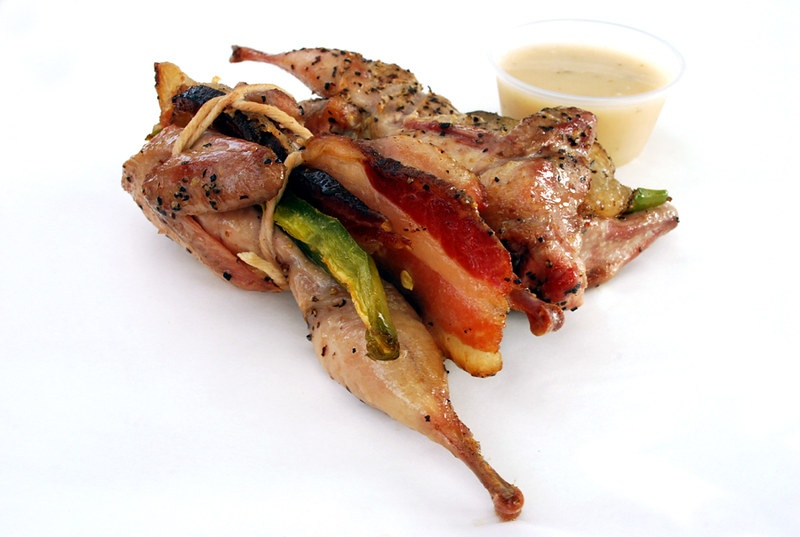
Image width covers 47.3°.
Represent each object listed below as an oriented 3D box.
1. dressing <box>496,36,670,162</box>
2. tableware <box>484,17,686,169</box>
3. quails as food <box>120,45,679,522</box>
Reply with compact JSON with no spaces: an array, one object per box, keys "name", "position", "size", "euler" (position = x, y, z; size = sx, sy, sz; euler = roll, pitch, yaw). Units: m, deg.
[{"name":"dressing","position":[1.258,-1.234,6.099],"size":[0.991,0.424,0.892],"euler":[-3,42,-5]},{"name":"tableware","position":[1.283,-1.142,6.475],"size":[1.207,0.534,1.137],"euler":[5,9,-18]},{"name":"quails as food","position":[-0.320,-0.336,5.320],"size":[3.167,0.998,2.219],"euler":[27,56,15]}]
